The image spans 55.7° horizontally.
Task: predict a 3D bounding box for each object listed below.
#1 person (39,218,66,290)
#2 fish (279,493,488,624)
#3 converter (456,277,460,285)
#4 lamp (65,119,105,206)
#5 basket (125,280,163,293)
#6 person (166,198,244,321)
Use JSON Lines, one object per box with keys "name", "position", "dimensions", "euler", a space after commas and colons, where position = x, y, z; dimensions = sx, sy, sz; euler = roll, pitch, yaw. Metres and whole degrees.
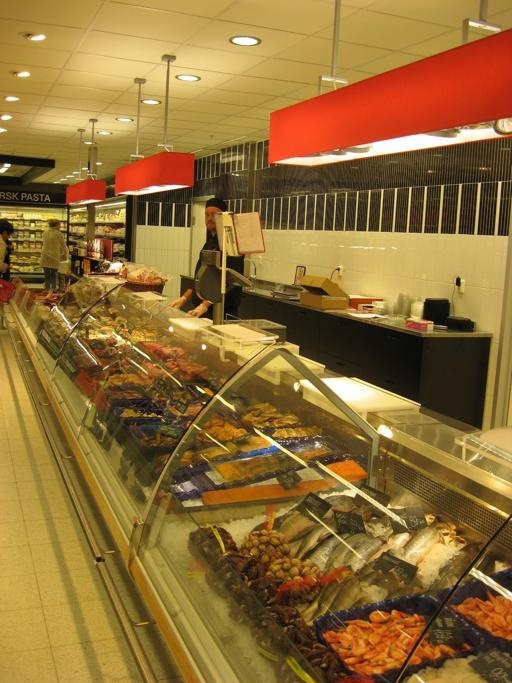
{"name": "person", "position": [-4.737, -1.984, 11.260], "dimensions": [0.478, 1.672, 0.544], "euler": [15, 23, 9]}
{"name": "fish", "position": [0.245, 0.409, 0.971], "dimensions": [0.214, 0.059, 0.203], "euler": [-11, 10, -41]}
{"name": "converter", "position": [1.994, -0.588, 4.758], "dimensions": [0.016, 0.063, 0.048], "euler": [-1, 6, -33]}
{"name": "lamp", "position": [-3.505, -3.658, 9.864], "dimensions": [0.624, 1.914, 2.069], "euler": [-2, 11, -19]}
{"name": "basket", "position": [-1.101, -0.531, 4.646], "dimensions": [0.279, 0.093, 0.281], "euler": [5, 7, 32]}
{"name": "person", "position": [-0.345, -0.589, 3.925], "dimensions": [0.494, 1.134, 0.791], "euler": [-5, 13, -27]}
